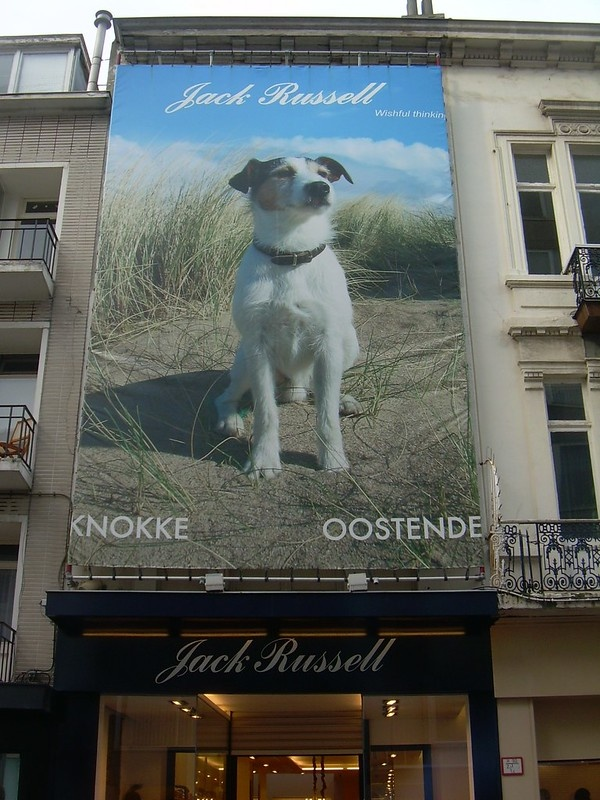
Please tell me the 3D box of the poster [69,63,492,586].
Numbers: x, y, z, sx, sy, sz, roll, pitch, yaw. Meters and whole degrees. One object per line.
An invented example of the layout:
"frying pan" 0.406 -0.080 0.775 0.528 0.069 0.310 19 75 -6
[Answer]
"poster" -0.406 -1.733 13.214 6.033 7.891 0.172 0 -10 3

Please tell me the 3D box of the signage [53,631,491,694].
"signage" -0.336 3.434 11.244 5.511 0.827 0.319 -1 -20 -1
